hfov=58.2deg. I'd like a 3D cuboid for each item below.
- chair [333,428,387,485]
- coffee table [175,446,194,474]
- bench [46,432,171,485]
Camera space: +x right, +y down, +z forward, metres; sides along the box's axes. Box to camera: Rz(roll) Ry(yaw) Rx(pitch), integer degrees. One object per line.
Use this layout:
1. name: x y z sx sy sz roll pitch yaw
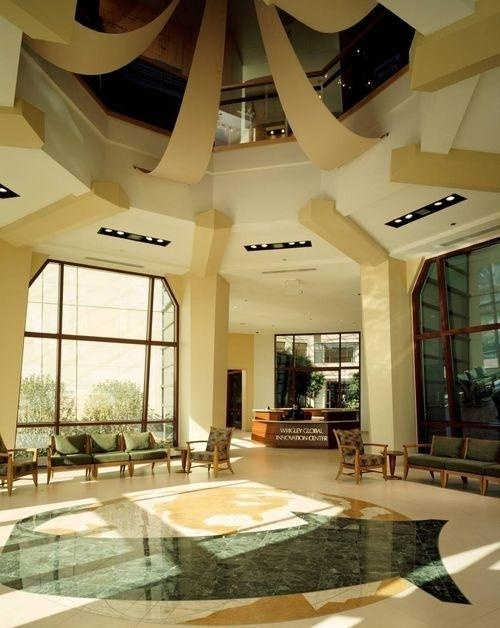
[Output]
1. chair: 2.022 2.613 8.354 0.917 0.847 0.887 -6 -12 30
2. coffee table: -1.398 3.021 9.435 0.303 0.545 1.113 2 -12 -8
3. bench: -2.817 2.784 8.856 2.240 0.805 1.063 7 -14 -31
